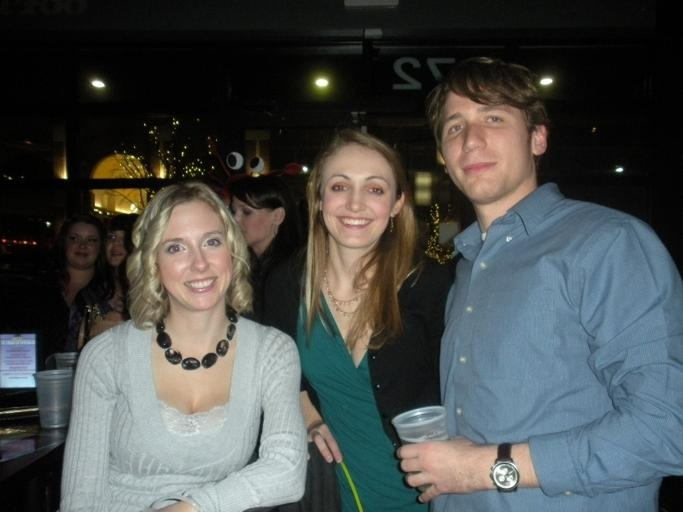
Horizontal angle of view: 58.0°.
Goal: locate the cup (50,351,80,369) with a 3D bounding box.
[{"bbox_3d":[-1.689,0.636,3.794,0.162,0.107,0.176,0,-17,0],"label":"cup"}]
